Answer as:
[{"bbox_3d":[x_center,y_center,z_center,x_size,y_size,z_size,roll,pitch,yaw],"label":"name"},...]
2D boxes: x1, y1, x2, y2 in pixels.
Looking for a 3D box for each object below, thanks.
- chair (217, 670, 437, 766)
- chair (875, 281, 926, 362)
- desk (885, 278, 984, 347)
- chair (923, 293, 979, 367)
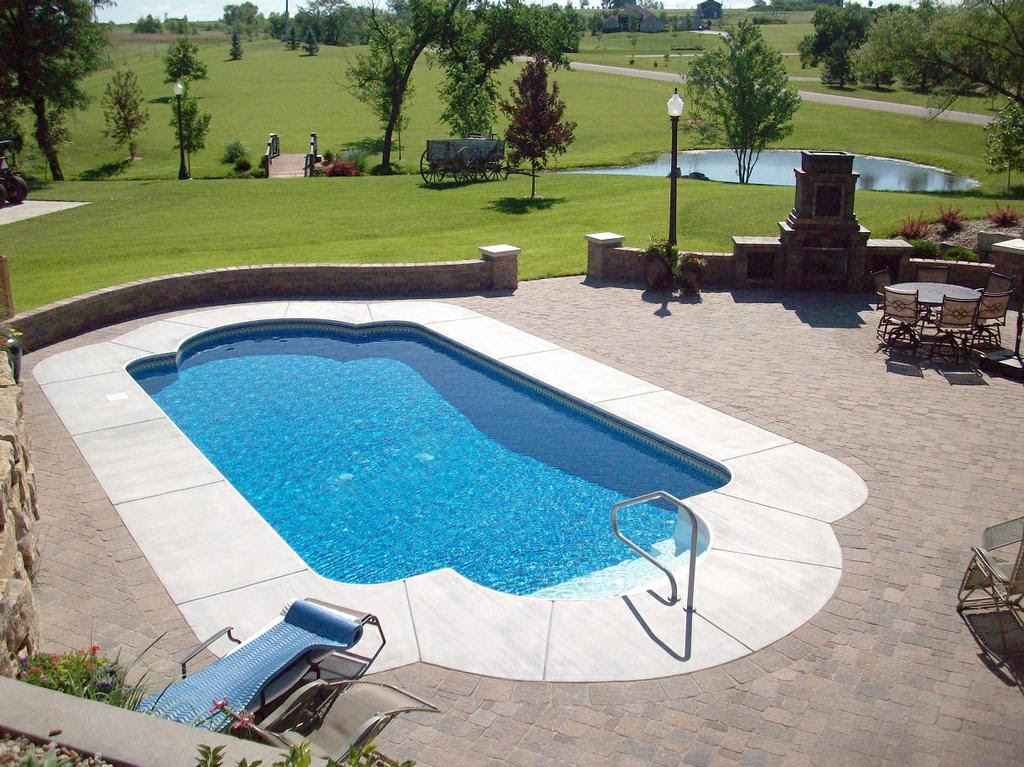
[{"bbox_3d":[-1.647,3.036,7.986,0.937,0.545,1.553,20,18,33],"label":"chair"},{"bbox_3d":[7.729,-1.212,17.038,1.195,1.400,0.917,10,32,30],"label":"chair"},{"bbox_3d":[8.289,-1.695,16.880,1.376,0.518,1.430,-6,22,4],"label":"desk"},{"bbox_3d":[8.483,-1.053,16.556,0.768,1.492,1.026,8,37,20],"label":"chair"}]
